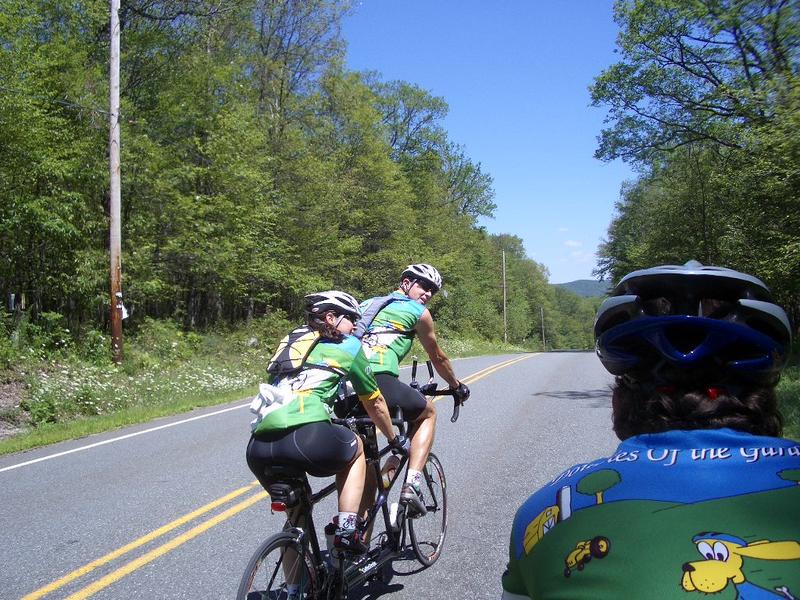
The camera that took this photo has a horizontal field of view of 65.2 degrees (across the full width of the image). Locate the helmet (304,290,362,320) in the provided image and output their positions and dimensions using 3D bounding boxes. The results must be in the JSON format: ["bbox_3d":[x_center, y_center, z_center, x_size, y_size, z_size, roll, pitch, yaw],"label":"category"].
[{"bbox_3d":[-0.421,0.023,3.908,0.261,0.124,0.183,3,-8,-7],"label":"helmet"}]

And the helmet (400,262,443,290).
[{"bbox_3d":[0.181,-0.227,5.164,0.258,0.176,0.213,27,0,31],"label":"helmet"}]

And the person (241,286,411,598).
[{"bbox_3d":[-0.465,0.826,3.835,0.921,1.810,0.477,-2,0,-44],"label":"person"}]

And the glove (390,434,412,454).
[{"bbox_3d":[0.009,1.033,4.462,0.160,0.120,0.071,10,-14,-43],"label":"glove"}]

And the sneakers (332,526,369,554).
[{"bbox_3d":[-0.301,1.451,3.777,0.094,0.136,0.293,-8,-24,29],"label":"sneakers"}]

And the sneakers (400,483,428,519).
[{"bbox_3d":[0.103,1.487,4.612,0.119,0.172,0.378,-14,-36,12],"label":"sneakers"}]
